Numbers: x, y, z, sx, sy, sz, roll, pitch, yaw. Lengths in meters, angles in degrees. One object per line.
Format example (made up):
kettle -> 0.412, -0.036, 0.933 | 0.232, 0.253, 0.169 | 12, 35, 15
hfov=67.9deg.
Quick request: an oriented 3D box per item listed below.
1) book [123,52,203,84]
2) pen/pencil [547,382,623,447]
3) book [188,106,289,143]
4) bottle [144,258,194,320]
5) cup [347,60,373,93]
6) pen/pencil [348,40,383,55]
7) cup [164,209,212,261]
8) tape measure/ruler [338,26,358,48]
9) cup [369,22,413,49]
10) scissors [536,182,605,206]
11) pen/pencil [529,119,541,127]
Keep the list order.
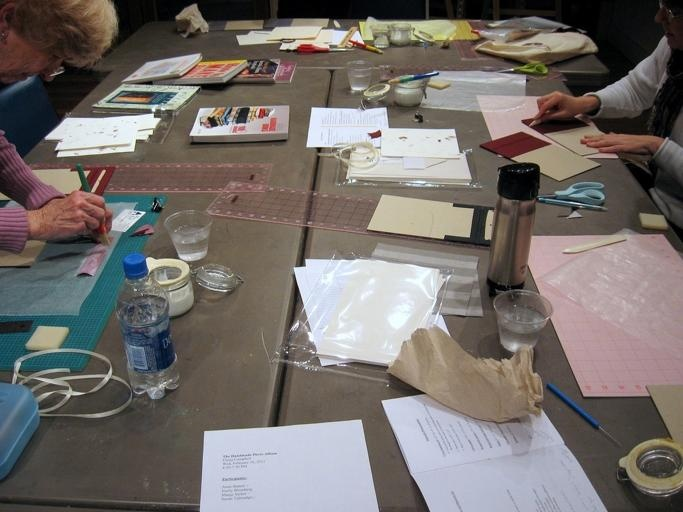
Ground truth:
book -> -0.831, -0.872, 2.375 | 0.203, 0.028, 0.185 | -4, 38, 12
pen/pencil -> 0.472, 0.312, 0.983 | 0.014, 0.015, 0.132 | -13, 45, -46
book -> -0.375, -0.499, 1.909 | 0.279, 0.037, 0.192 | 0, 43, 0
bottle -> -0.383, 0.058, 1.179 | 0.101, 0.111, 0.134 | -11, 34, -26
cup -> 0.084, -0.777, 2.227 | 0.129, 0.117, 0.129 | 1, 12, 0
pen/pencil -> 0.127, -1.078, 2.630 | 0.029, 0.030, 0.272 | -8, 29, -41
cup -> -0.402, -0.053, 1.381 | 0.129, 0.110, 0.133 | 1, 36, -1
tape measure/ruler -> 0.038, -1.192, 2.764 | 0.047, 0.013, 0.310 | 8, 41, 7
cup -> 0.267, -1.147, 2.708 | 0.255, 0.104, 0.169 | 5, 39, 7
scissors -> 0.707, -0.185, 1.542 | 0.161, 0.041, 0.090 | -5, 32, 18
pen/pencil -> 0.730, -0.501, 1.911 | 0.018, 0.016, 0.057 | 42, 55, 14
